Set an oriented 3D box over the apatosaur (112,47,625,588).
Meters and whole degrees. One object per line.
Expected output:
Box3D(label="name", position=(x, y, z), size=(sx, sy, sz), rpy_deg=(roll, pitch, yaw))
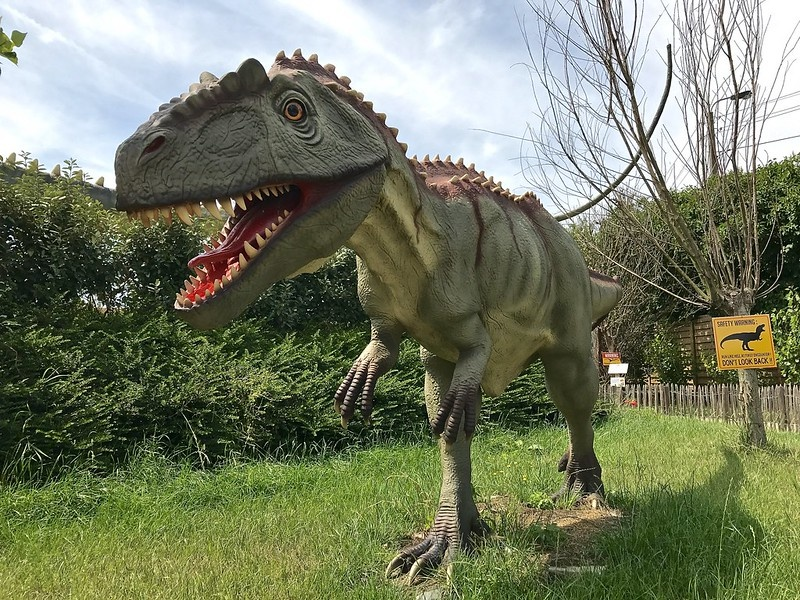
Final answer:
Box3D(label="apatosaur", position=(0.021, 0.136, 4.327), size=(3.581, 2.662, 1.058), rpy_deg=(-2, 1, -43))
